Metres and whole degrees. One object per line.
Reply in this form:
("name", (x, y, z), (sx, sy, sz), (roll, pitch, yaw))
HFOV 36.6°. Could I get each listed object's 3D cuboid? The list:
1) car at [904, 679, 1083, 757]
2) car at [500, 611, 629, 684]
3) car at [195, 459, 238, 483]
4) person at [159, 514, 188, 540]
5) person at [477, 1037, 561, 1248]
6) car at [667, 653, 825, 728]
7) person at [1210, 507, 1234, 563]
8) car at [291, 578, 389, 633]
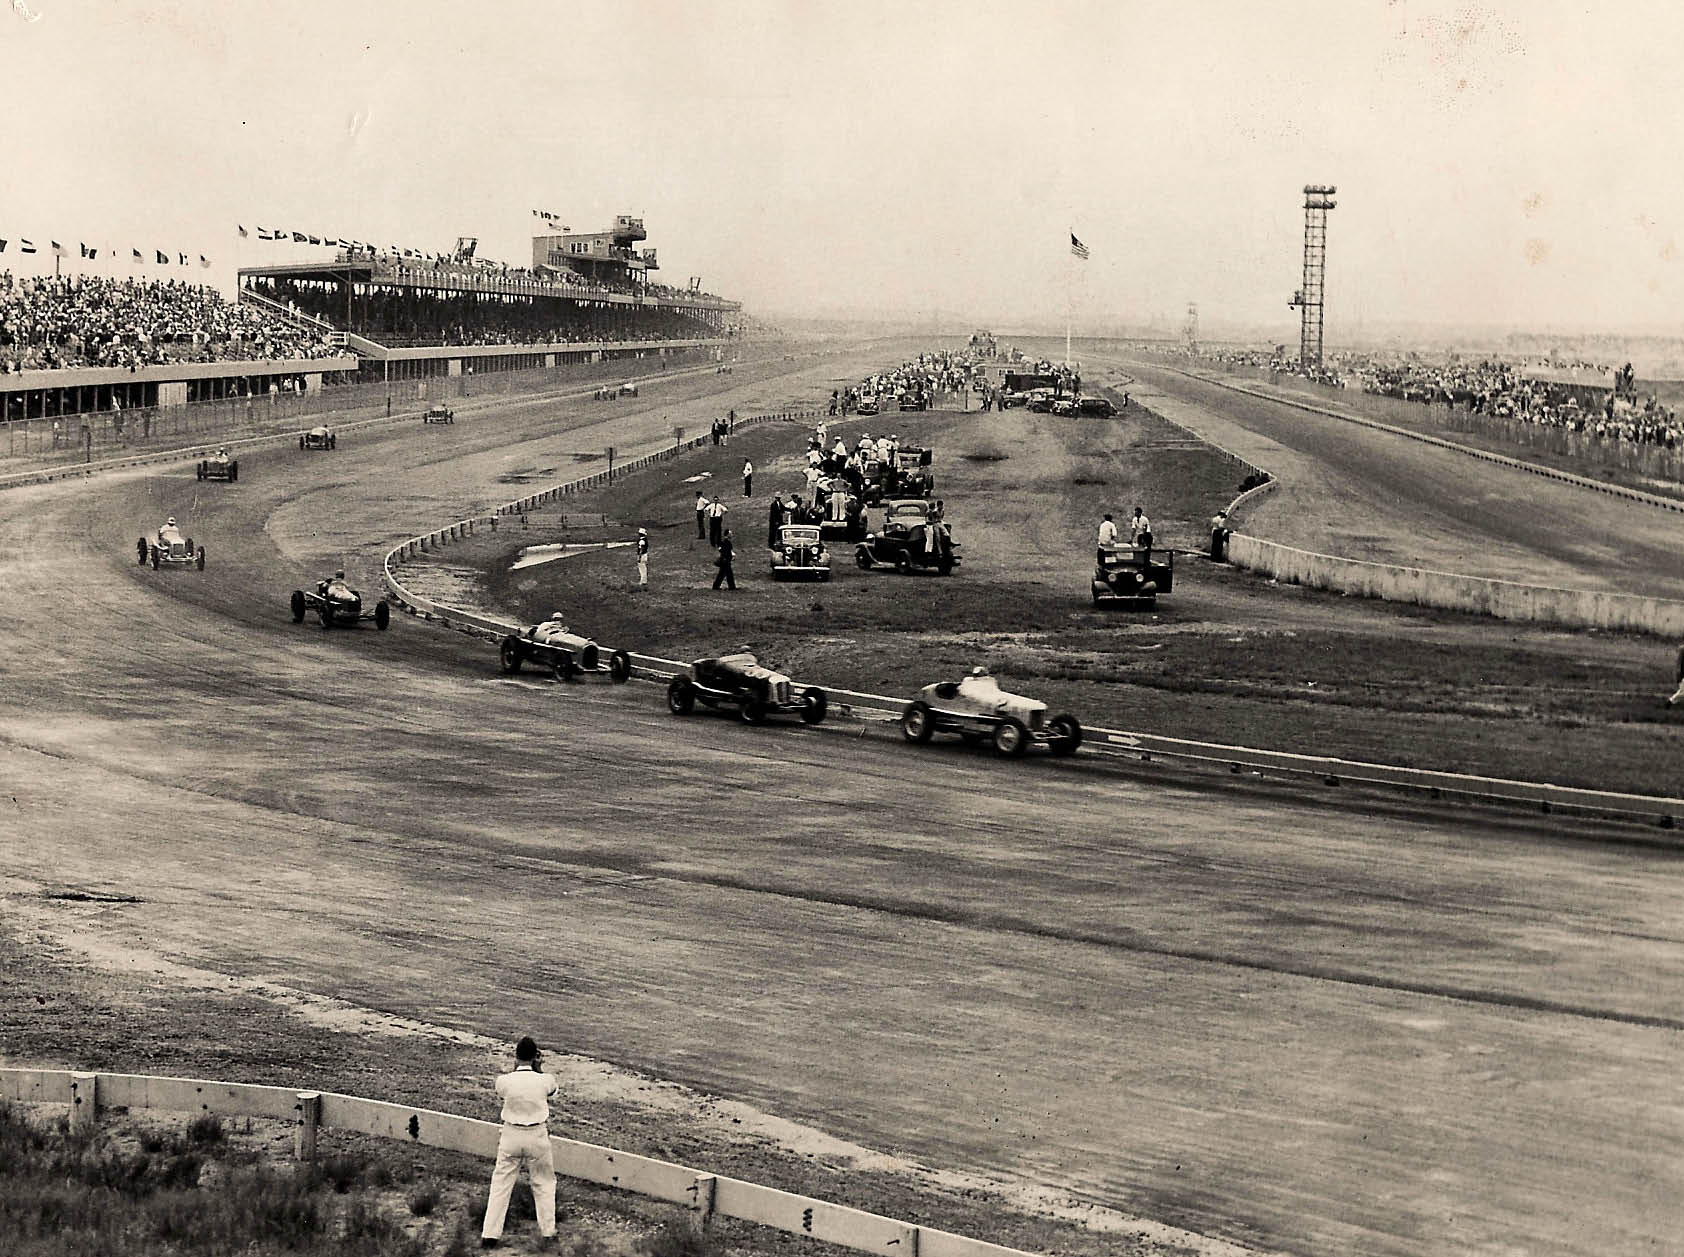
("car", (2.924, 1.608, 47.062), (2.576, 1.279, 1.527), (8, 12, 34))
("car", (-5.858, 0.565, 54.662), (2.304, 1.101, 1.457), (9, 10, 38))
("car", (-22.908, -5.830, 94.196), (1.385, 0.943, 1.602), (-3, 10, -16))
("person", (-20.160, -3.057, 77.245), (0.843, 0.785, 1.439), (0, -1, -17))
("person", (-3.767, 6.031, 29.869), (0.877, 2.337, 0.550), (-2, 9, -9))
("car", (-1.880, 1.170, 49.613), (2.432, 1.068, 1.439), (6, 8, 41))
("person", (10.981, -2.553, 73.921), (0.516, 1.062, 1.835), (1, 10, 8))
("car", (-12.191, -0.494, 61.813), (1.371, 1.153, 2.515), (-2, 9, -29))
